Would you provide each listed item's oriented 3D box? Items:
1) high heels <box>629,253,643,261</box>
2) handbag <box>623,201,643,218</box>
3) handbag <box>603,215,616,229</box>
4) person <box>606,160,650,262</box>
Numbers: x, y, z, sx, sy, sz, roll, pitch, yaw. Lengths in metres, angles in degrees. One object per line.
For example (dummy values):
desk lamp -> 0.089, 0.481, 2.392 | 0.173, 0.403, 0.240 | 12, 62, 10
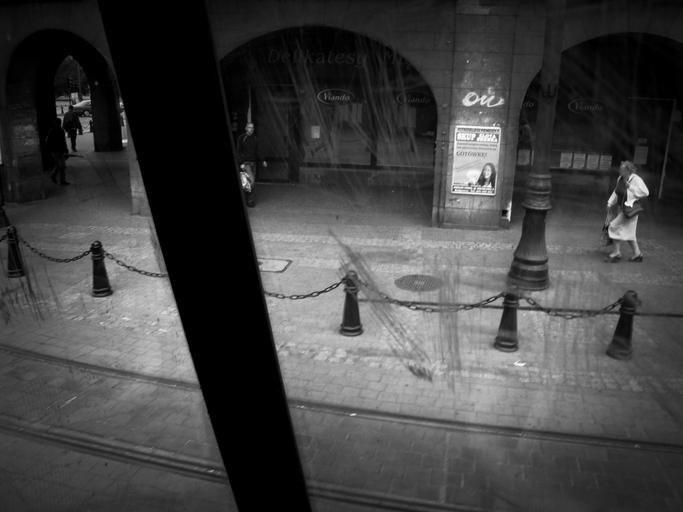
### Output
high heels -> 4.311, 0.024, 7.540 | 0.164, 0.077, 0.087 | 0, 10, 2
handbag -> 4.058, -0.629, 7.201 | 0.233, 0.237, 0.083 | -20, -1, -3
handbag -> 4.010, -0.509, 7.715 | 0.068, 0.070, 0.395 | -12, -20, 21
person -> 4.052, -0.596, 7.320 | 0.507, 1.526, 0.643 | 0, 16, 13
